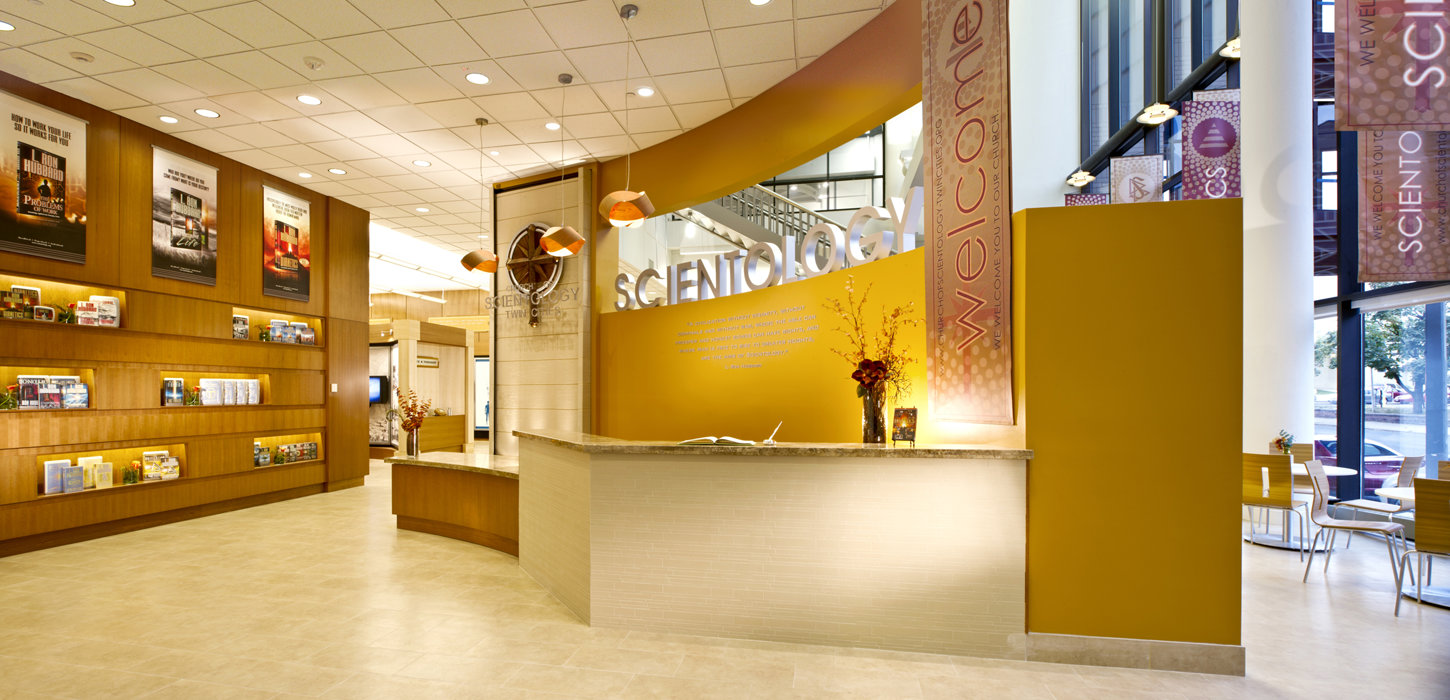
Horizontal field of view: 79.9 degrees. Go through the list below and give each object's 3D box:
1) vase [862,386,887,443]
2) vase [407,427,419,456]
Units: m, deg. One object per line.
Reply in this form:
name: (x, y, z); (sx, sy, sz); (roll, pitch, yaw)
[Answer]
vase: (2.091, 0.900, 12.166); (0.305, 0.754, 0.239); (0, -6, 4)
vase: (-5.458, 1.562, 14.866); (0.185, 0.434, 0.152); (2, -6, -10)
